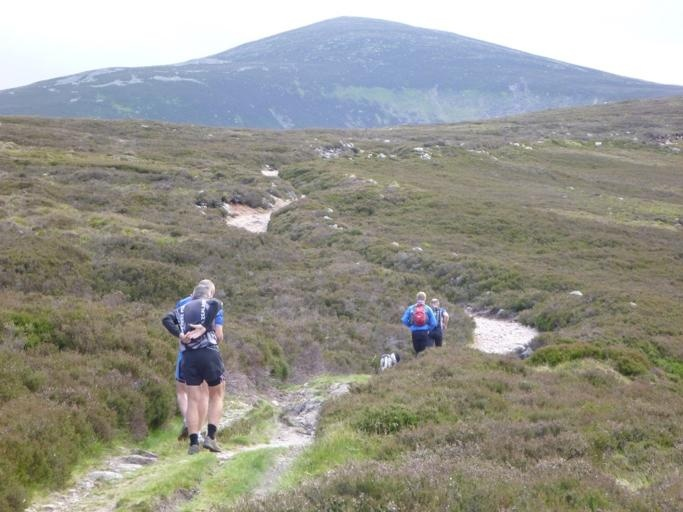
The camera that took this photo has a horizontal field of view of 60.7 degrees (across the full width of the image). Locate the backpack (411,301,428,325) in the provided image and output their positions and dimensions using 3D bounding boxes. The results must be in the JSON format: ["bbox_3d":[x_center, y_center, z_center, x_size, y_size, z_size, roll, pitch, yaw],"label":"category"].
[{"bbox_3d":[2.740,2.026,20.427,0.539,0.850,0.361,-1,6,9],"label":"backpack"}]

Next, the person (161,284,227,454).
[{"bbox_3d":[-3.305,2.584,13.642,1.140,3.921,1.043,-3,6,-14],"label":"person"}]

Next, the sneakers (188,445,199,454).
[{"bbox_3d":[-3.334,4.406,13.260,0.257,0.158,0.291,-3,6,-18],"label":"sneakers"}]

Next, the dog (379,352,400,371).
[{"bbox_3d":[1.720,3.744,20.141,0.654,0.460,0.967,-14,1,-12],"label":"dog"}]
